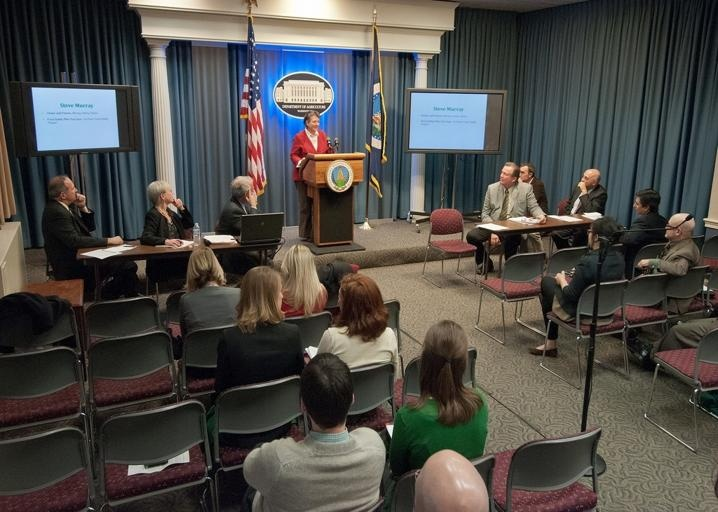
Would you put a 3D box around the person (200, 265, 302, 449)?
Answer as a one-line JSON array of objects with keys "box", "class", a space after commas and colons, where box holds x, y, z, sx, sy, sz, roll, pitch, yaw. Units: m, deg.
[{"box": [-0.743, 0.633, 3.507, 0.729, 1.246, 0.833, 5, 8, 16], "class": "person"}]

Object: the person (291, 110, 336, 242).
[{"box": [-0.720, -1.216, 7.748, 0.713, 1.974, 0.858, 23, 31, 35], "class": "person"}]

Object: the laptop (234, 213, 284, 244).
[{"box": [-1.097, -0.337, 5.624, 0.418, 0.348, 0.360, -4, 11, -26], "class": "laptop"}]

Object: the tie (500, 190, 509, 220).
[{"box": [2.164, -0.794, 7.417, 0.073, 0.349, 0.260, 5, -16, -10], "class": "tie"}]

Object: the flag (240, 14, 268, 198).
[{"box": [-1.708, -2.390, 7.863, 0.344, 2.678, 0.740, -5, 14, -12], "class": "flag"}]

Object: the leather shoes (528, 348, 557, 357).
[{"box": [1.868, 0.945, 5.088, 0.253, 0.098, 0.098, 8, 11, 31], "class": "leather shoes"}]

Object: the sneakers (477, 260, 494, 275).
[{"box": [1.835, 0.130, 7.314, 0.353, 0.259, 0.131, -5, 5, -28], "class": "sneakers"}]

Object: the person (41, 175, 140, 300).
[{"box": [-3.164, -0.105, 5.898, 0.861, 1.707, 0.671, -8, 13, -32], "class": "person"}]
